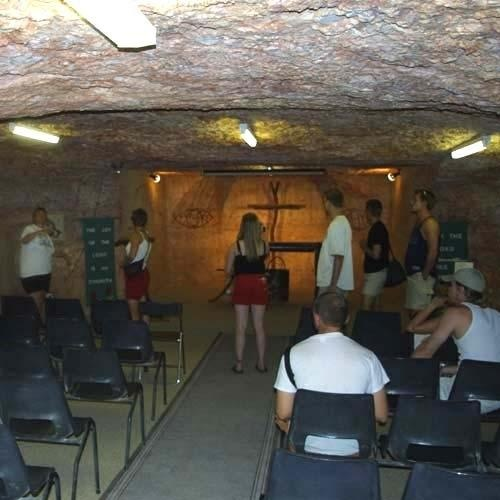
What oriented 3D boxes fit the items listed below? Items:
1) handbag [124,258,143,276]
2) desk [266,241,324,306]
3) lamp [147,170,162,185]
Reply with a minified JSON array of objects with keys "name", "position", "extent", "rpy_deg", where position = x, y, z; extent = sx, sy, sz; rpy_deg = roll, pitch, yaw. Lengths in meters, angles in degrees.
[{"name":"handbag","position":[-1.448,0.207,5.871],"extent":[0.181,0.129,0.096],"rpy_deg":[-16,47,-38]},{"name":"desk","position":[0.878,0.484,9.434],"extent":[1.269,1.156,0.731],"rpy_deg":[2,10,14]},{"name":"lamp","position":[-1.915,-1.471,9.572],"extent":[0.186,0.165,0.407],"rpy_deg":[-2,3,-17]}]
